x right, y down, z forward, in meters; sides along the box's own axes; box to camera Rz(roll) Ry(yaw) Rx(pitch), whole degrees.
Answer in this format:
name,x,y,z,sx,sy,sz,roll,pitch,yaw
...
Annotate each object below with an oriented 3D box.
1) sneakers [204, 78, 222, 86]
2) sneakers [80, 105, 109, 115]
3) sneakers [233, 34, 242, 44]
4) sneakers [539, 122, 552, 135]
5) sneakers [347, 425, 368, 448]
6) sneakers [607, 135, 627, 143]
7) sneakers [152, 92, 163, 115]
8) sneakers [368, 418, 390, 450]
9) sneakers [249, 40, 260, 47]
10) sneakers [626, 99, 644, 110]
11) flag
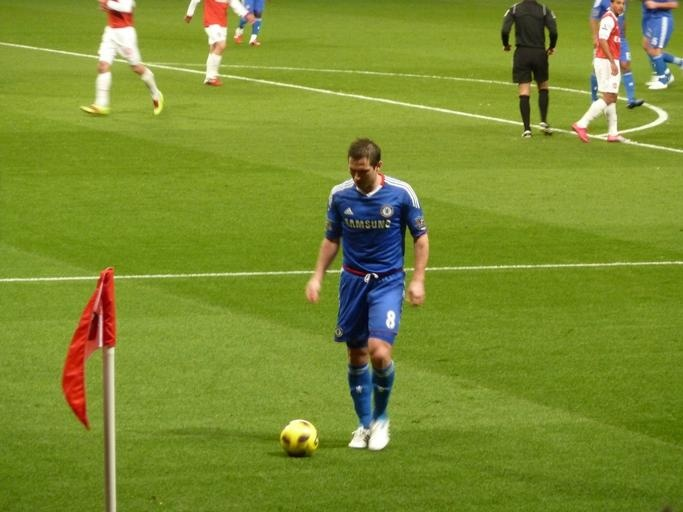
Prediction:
name,x,y,z,sx,sy,sz,roll,pitch,yaw
sneakers,-2.251,-3.057,24.514,0.322,0.135,0.120,0,6,36
sneakers,-3.753,-2.222,21.211,0.457,0.161,0.177,6,11,-8
sneakers,-2.246,-4.766,30.511,0.165,0.146,0.272,-2,4,-15
sneakers,3.144,-1.954,21.474,0.095,0.143,0.220,47,-4,14
sneakers,0.158,1.569,11.939,0.170,0.161,0.164,8,11,1
sneakers,4.213,-1.774,21.180,0.244,0.097,0.116,-1,12,-6
sneakers,-2.819,-2.343,21.580,0.144,0.392,0.178,1,22,-4
sneakers,0.331,1.537,11.905,0.116,0.136,0.310,-2,35,15
sneakers,-1.889,-4.616,30.247,0.128,0.121,0.260,-5,8,-28
sneakers,5.049,-2.580,23.795,0.321,0.145,0.118,-16,19,50
flag,-1.895,0.729,10.511,0.339,1.283,0.295,6,11,-12
